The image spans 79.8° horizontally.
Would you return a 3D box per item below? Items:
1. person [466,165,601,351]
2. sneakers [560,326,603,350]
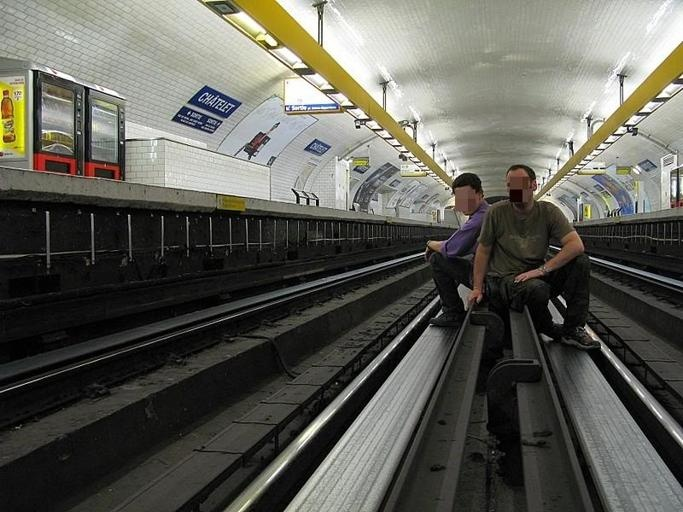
[{"bbox_3d":[1.739,-0.017,3.753,1.034,1.576,0.678,2,4,19],"label":"person"},{"bbox_3d":[2.043,0.713,3.523,0.235,0.172,0.359,0,3,-5],"label":"sneakers"}]
